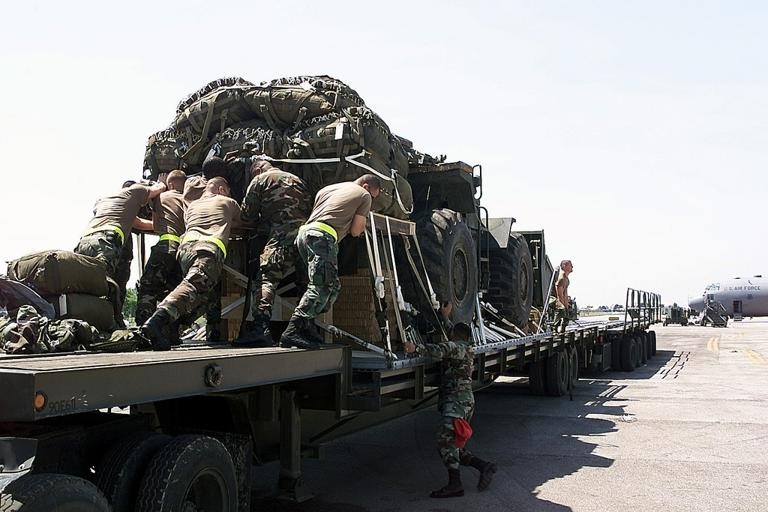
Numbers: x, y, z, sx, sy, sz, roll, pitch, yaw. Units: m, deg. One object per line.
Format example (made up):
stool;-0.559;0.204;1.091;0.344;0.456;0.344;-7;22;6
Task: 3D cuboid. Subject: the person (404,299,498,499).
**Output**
person;0.833;1.610;6.831;0.808;2.121;1.180;-1;-4;18

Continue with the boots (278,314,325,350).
boots;-0.772;0.679;5.443;0.346;0.284;0.484;1;-4;-11

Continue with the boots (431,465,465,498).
boots;0.697;2.545;6.729;0.434;0.432;0.211;3;-8;8

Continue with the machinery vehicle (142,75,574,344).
machinery vehicle;0.185;-0.614;8.945;2.710;2.540;5.984;2;0;31

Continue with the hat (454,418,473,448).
hat;0.877;1.995;6.710;0.155;0.369;0.329;-1;-4;16

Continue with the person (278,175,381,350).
person;-0.599;0.029;5.751;0.579;1.615;1.001;-2;-4;24

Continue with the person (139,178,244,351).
person;-1.783;-0.023;5.729;0.619;1.739;1.553;0;-4;-5

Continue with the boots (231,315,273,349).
boots;-1.265;0.727;5.757;0.509;0.395;0.191;7;-8;-44

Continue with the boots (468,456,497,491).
boots;1.102;2.433;6.824;0.183;0.621;0.263;12;2;2
